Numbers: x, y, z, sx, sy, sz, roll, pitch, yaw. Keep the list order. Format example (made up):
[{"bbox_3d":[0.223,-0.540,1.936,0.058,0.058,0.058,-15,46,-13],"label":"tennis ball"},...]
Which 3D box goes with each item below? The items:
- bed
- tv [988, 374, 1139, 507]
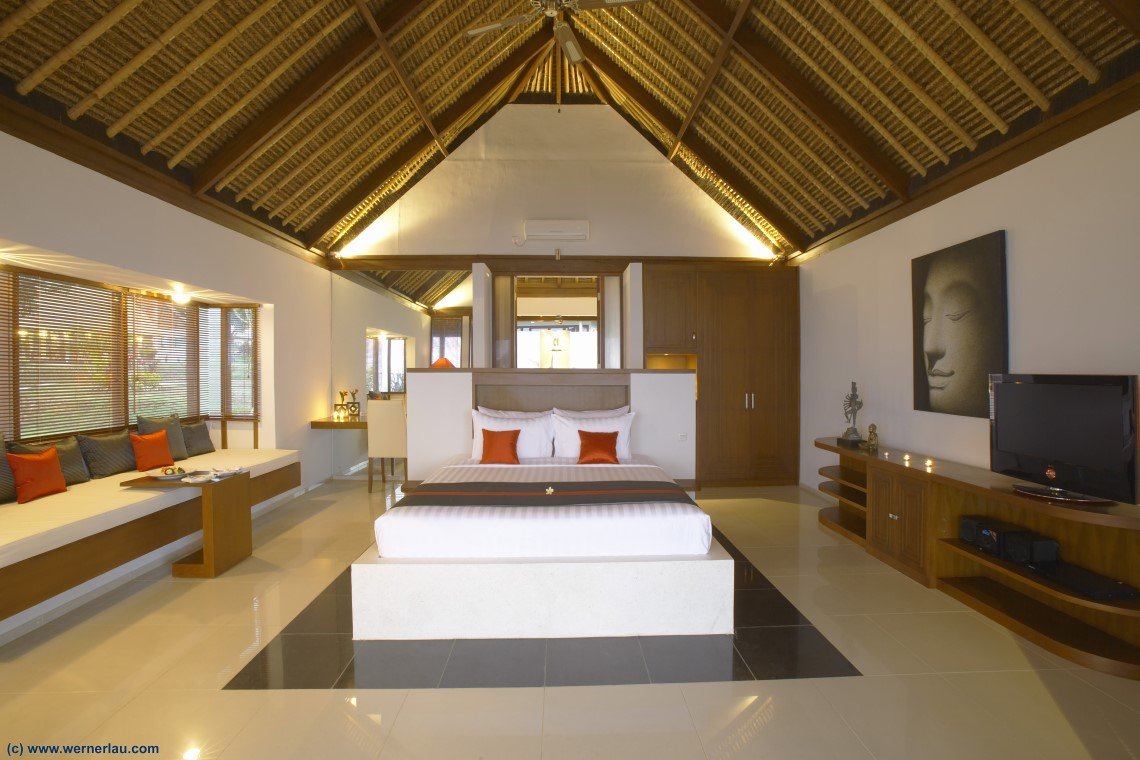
[{"bbox_3d":[-0.187,1.104,7.085,2.323,1.553,2.406,-1,-2,1],"label":"bed"},{"bbox_3d":[3.810,0.455,5.770,0.110,0.893,0.990,0,2,-26],"label":"tv"}]
